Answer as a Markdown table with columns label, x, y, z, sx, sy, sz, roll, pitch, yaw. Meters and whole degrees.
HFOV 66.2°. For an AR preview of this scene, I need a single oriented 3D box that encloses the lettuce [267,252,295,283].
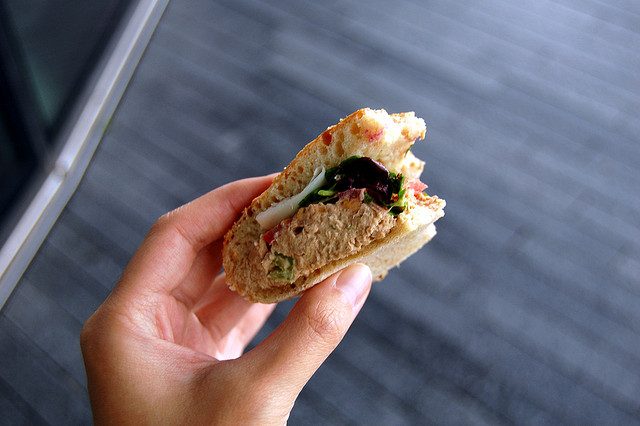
| label | x | y | z | sx | sy | sz | roll | pitch | yaw |
| --- | --- | --- | --- | --- | --- | --- | --- | --- | --- |
| lettuce | -0.187 | 0.276 | 2.496 | 0.132 | 0.140 | 0.047 | 11 | 17 | 24 |

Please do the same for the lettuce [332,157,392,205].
| label | x | y | z | sx | sy | sz | roll | pitch | yaw |
| --- | --- | --- | --- | --- | --- | --- | --- | --- | --- |
| lettuce | 0.224 | -0.166 | 2.457 | 0.304 | 0.128 | 0.172 | 19 | 59 | 4 |

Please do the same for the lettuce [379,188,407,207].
| label | x | y | z | sx | sy | sz | roll | pitch | yaw |
| --- | --- | --- | --- | --- | --- | --- | --- | --- | --- |
| lettuce | 0.369 | -0.059 | 2.431 | 0.147 | 0.068 | 0.061 | -17 | 62 | -17 |
